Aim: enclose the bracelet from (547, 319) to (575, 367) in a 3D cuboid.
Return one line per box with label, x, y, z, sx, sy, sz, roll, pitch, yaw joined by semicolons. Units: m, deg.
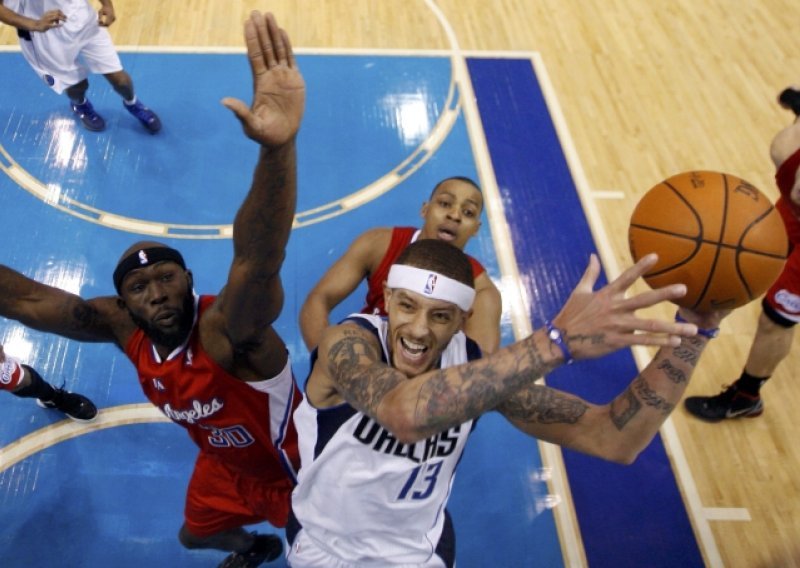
bracelet;0.831;0.298;3.285;0.111;0.205;0.190;-40;54;-4
